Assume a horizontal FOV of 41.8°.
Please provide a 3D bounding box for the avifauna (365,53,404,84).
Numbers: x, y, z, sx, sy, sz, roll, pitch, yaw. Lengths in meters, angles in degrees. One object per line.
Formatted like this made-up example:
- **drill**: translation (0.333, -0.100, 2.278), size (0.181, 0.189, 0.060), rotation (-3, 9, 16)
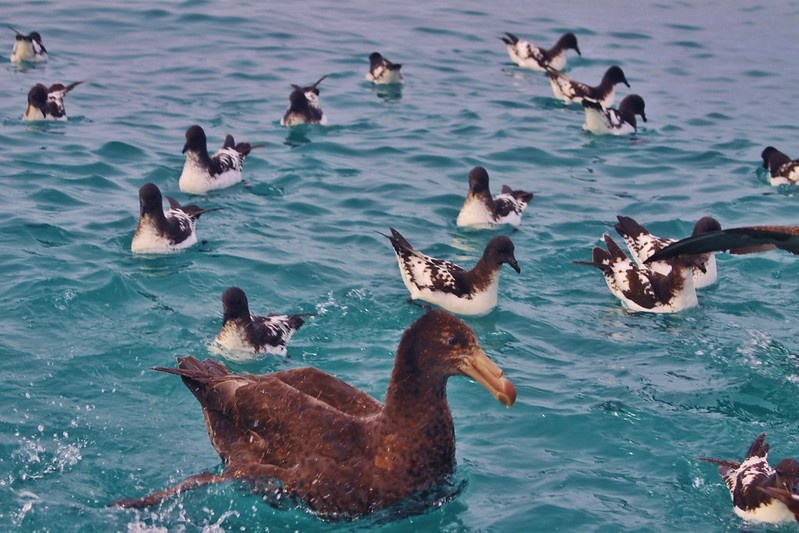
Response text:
- **avifauna**: translation (-0.417, -6.319, 33.774), size (0.752, 0.906, 1.624), rotation (-8, 26, -24)

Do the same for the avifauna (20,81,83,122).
- **avifauna**: translation (-9.701, -4.594, 29.007), size (0.753, 1.021, 1.197), rotation (19, 28, 29)

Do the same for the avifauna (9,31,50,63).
- **avifauna**: translation (-11.926, -7.107, 33.772), size (1.137, 0.990, 0.565), rotation (-2, 26, -14)
